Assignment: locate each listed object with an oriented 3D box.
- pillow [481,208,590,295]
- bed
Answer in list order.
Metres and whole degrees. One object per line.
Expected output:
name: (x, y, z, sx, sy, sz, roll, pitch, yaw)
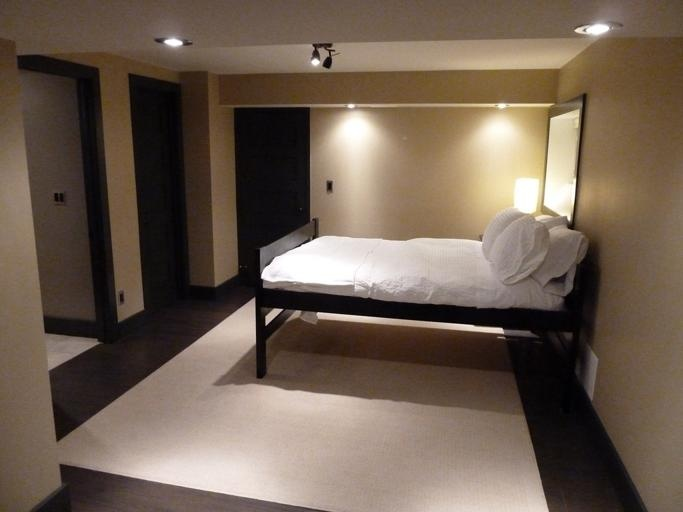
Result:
pillow: (1.462, -0.056, 4.069, 0.659, 0.495, 0.892, 4, 13, 10)
bed: (0.558, 0.167, 4.304, 1.842, 1.033, 1.548, 4, 15, 11)
